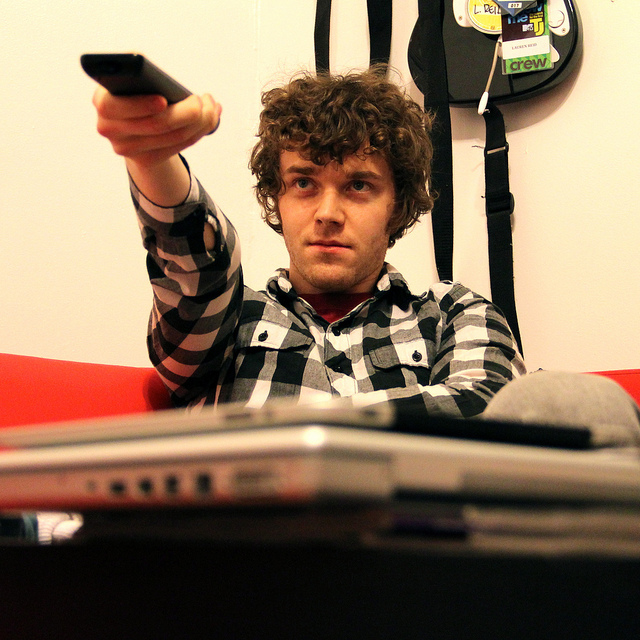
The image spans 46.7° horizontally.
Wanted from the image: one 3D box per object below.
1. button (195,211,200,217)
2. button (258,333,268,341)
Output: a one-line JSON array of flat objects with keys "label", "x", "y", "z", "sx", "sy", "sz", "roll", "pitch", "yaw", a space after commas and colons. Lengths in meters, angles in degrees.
[{"label": "button", "x": -0.121, "y": -0.103, "z": 0.721, "sx": 0.004, "sy": 0.006, "sz": 0.001, "roll": 7, "pitch": 3, "yaw": 10}, {"label": "button", "x": -0.077, "y": 0.023, "z": 0.985, "sx": 0.014, "sy": 0.005, "sz": 0.012, "roll": -26, "pitch": 30, "yaw": -33}]
